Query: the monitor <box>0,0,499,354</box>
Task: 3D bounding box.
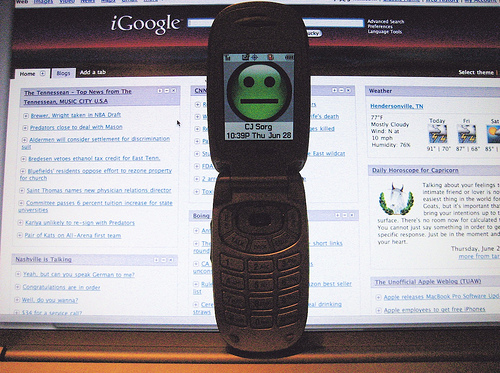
[{"bbox_3d":[-0.001,0.011,1.072,0.862,0.431,0.016,-1,-8,3],"label":"monitor"}]
